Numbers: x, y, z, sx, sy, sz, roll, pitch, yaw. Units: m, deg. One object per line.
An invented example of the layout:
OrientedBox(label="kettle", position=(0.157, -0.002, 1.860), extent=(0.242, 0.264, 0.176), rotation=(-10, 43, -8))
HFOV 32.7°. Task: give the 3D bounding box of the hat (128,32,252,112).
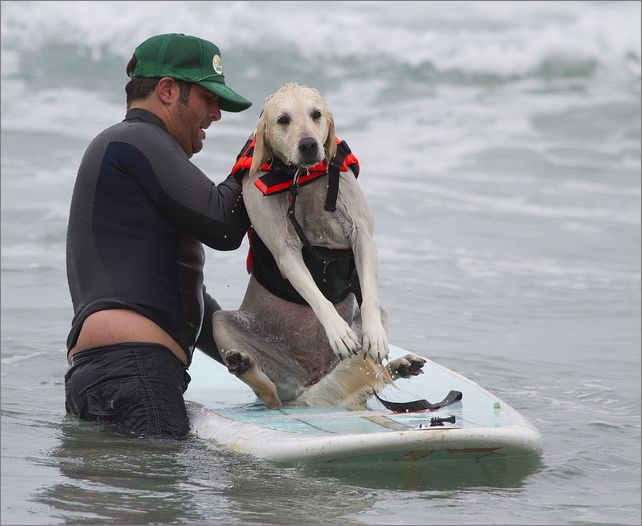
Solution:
OrientedBox(label="hat", position=(-0.906, -1.324, 7.693), extent=(0.990, 0.337, 0.492), rotation=(9, 0, -3))

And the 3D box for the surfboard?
OrientedBox(label="surfboard", position=(0.222, 1.029, 7.490), extent=(2.518, 0.272, 1.550), rotation=(-1, 11, 5))

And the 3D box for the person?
OrientedBox(label="person", position=(-1.135, -0.201, 7.298), extent=(1.174, 2.591, 1.422), rotation=(1, 17, 16))
